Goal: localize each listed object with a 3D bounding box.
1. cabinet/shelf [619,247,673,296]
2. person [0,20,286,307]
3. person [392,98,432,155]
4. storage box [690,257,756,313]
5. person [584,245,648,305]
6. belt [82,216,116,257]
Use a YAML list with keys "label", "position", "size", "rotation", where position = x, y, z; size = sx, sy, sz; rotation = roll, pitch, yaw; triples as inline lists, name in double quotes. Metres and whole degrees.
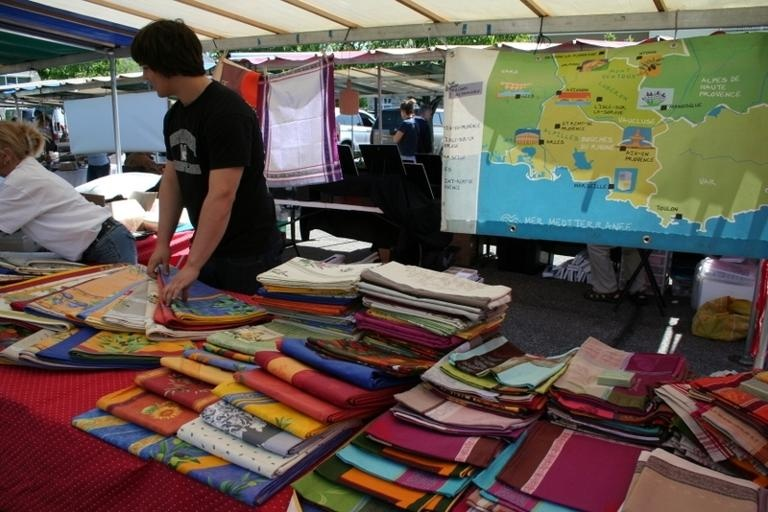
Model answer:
- label: "cabinet/shelf"
  position: [3.171, 0.196, 5.838]
  size: [0.824, 0.674, 0.579]
  rotation: [-1, -1, 25]
- label: "person"
  position: [-0.888, -0.431, 2.509]
  size: [0.680, 1.422, 0.940]
  rotation: [-5, 19, -13]
- label: "person"
  position: [0.499, -2.112, 8.049]
  size: [0.535, 0.935, 1.216]
  rotation: [4, 18, 14]
- label: "storage box"
  position: [3.589, 0.258, 5.270]
  size: [0.641, 0.533, 0.642]
  rotation: [8, 11, 39]
- label: "person"
  position: [2.731, 0.182, 5.710]
  size: [0.666, 0.717, 0.627]
  rotation: [9, 20, 26]
- label: "belt"
  position: [-1.879, -0.112, 3.247]
  size: [0.248, 0.088, 0.219]
  rotation: [-41, 10, -8]
